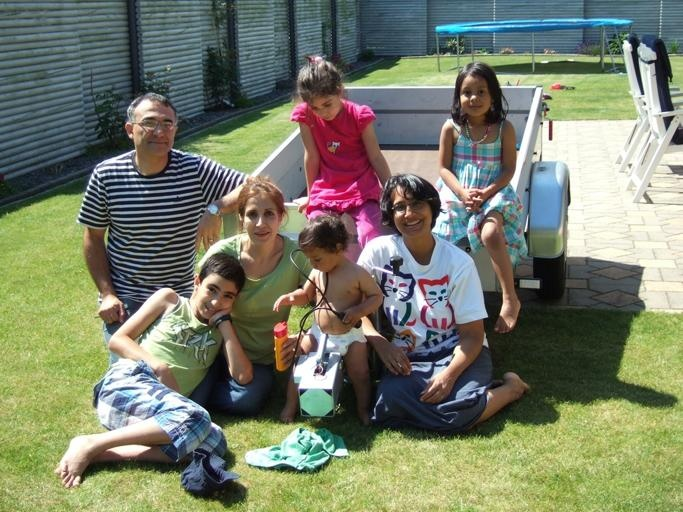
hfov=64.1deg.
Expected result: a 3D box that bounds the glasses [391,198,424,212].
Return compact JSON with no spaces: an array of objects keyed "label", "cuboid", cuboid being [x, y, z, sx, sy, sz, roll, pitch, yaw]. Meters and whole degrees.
[{"label":"glasses","cuboid":[0.364,-0.273,2.998,0.159,0.068,0.035,-1,18,11]}]

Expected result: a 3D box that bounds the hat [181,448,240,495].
[{"label":"hat","cuboid":[-0.622,0.961,2.503,0.163,0.100,0.220,1,8,-15]}]

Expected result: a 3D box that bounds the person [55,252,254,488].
[{"label":"person","cuboid":[-0.965,0.590,2.990,0.860,1.329,0.785,18,-24,-30]}]

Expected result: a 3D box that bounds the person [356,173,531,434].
[{"label":"person","cuboid":[0.437,0.256,3.022,0.819,1.272,0.922,-13,14,-34]}]

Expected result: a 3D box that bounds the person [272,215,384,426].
[{"label":"person","cuboid":[-0.060,0.313,3.049,0.536,1.065,0.404,4,19,24]}]

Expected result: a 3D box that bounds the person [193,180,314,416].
[{"label":"person","cuboid":[-0.540,0.231,3.214,0.809,1.318,0.716,2,5,4]}]

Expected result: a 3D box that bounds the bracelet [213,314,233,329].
[{"label":"bracelet","cuboid":[-0.668,0.347,3.052,0.082,0.066,0.096,12,14,28]}]

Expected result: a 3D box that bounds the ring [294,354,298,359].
[{"label":"ring","cuboid":[-0.258,0.564,3.055,0.012,0.022,0.008,1,-29,5]}]

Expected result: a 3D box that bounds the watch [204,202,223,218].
[{"label":"watch","cuboid":[-0.818,-0.265,3.404,0.098,0.073,0.096,3,-13,-14]}]
